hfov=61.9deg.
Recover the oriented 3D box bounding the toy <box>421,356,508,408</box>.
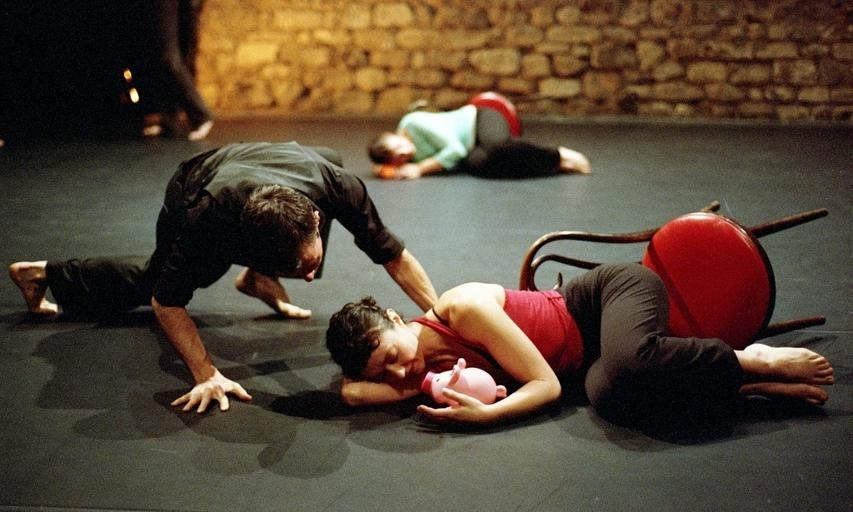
[{"bbox_3d":[0.153,0.573,3.164,0.287,0.247,0.225,25,36,36],"label":"toy"}]

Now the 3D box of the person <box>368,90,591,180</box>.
[{"bbox_3d":[0.333,-0.915,5.670,1.916,0.611,0.674,0,-4,3],"label":"person"}]

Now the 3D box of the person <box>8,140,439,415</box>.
[{"bbox_3d":[-0.990,-0.014,3.535,1.636,1.052,1.160,22,34,34],"label":"person"}]

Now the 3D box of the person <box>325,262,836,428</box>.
[{"bbox_3d":[0.678,0.458,3.414,2.270,0.841,0.613,-7,61,-4],"label":"person"}]
